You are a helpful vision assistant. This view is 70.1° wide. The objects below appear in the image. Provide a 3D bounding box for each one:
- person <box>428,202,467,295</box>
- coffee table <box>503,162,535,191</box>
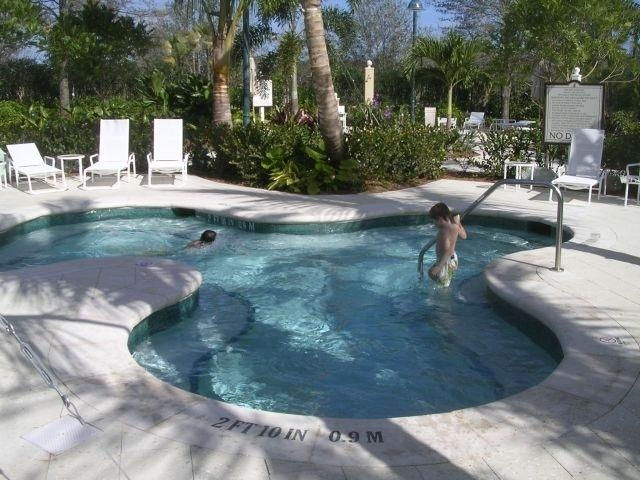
[{"bbox_3d":[1.789,0.092,6.430,0.478,1.210,0.503,2,10,14],"label":"person"},{"bbox_3d":[5.154,-1.643,11.698,0.733,0.708,2.174,4,9,24],"label":"coffee table"}]
